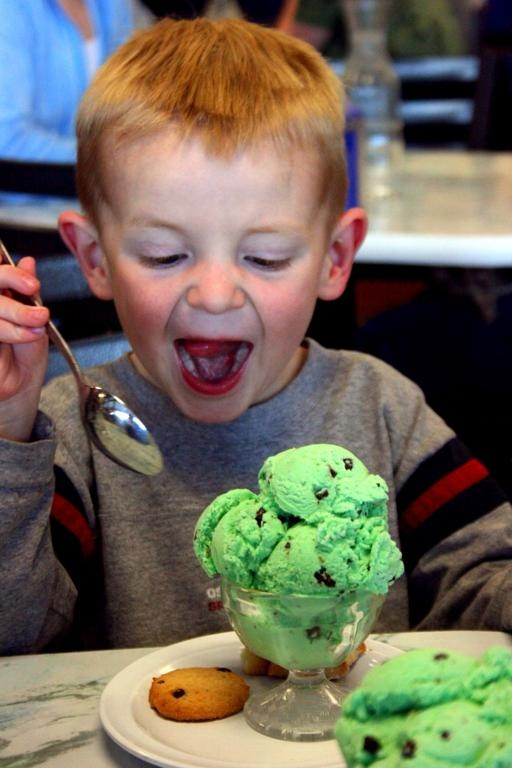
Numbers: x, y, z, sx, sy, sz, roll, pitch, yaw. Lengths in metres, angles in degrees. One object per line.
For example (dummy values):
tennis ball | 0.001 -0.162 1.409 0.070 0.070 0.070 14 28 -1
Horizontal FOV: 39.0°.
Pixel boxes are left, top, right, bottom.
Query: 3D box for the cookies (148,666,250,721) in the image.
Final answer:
cookies | -0.049 0.271 0.642 0.091 0.022 0.079 -1 2 -13

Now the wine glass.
wine glass | 0.036 0.226 0.651 0.123 0.129 0.110 3 6 -11
